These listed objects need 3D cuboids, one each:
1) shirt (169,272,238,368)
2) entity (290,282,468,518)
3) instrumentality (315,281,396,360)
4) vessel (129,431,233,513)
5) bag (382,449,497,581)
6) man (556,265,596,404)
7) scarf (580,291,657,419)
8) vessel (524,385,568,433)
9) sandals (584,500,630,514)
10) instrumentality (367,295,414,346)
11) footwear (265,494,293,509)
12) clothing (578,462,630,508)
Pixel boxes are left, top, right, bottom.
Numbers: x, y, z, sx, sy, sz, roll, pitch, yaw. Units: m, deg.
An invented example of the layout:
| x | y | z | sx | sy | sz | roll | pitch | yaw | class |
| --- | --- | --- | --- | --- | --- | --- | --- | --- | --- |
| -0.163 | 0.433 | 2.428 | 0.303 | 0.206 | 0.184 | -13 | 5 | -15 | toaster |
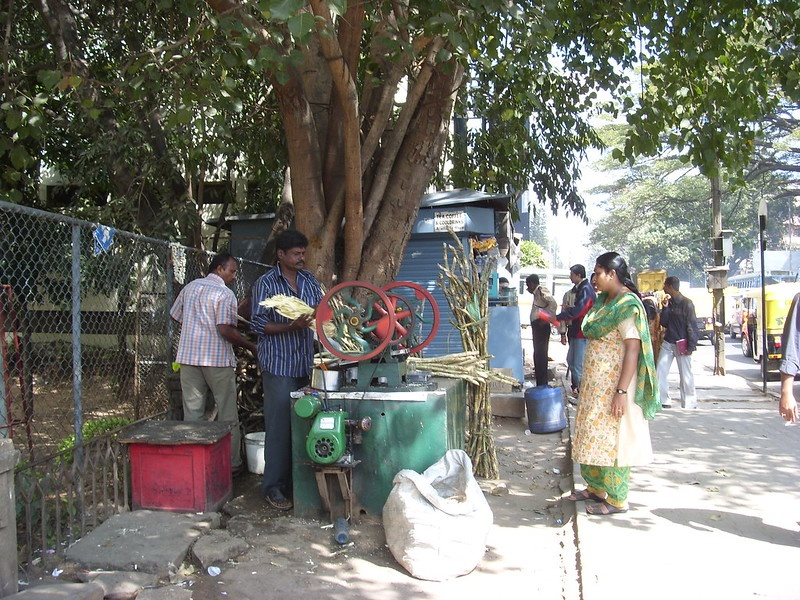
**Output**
| x | y | z | sx | sy | sz | roll | pitch | yaw | class |
| --- | --- | --- | --- | --- | --- | --- | --- | --- | --- |
| -1.984 | 0.211 | 7.129 | 0.799 | 1.067 | 0.553 | 5 | 9 | 22 | shirt |
| -0.175 | 0.897 | 7.040 | 1.728 | 2.253 | 1.744 | -5 | -5 | 27 | entity |
| -0.389 | 0.211 | 6.275 | 0.696 | 0.815 | 0.603 | -1 | 8 | 0 | instrumentality |
| -2.063 | 1.666 | 6.677 | 0.714 | 0.695 | 0.780 | -1 | -9 | 3 | vessel |
| 0.330 | 1.781 | 6.002 | 0.956 | 0.558 | 1.403 | 10 | 19 | 6 | bag |
| 2.615 | 0.486 | 10.603 | 0.601 | 2.076 | 0.616 | 2 | 14 | 10 | man |
| 2.078 | 0.503 | 6.615 | 0.577 | 1.262 | 0.792 | -3 | 12 | 7 | scarf |
| 1.954 | 1.463 | 9.540 | 0.666 | 0.630 | 0.714 | -8 | -1 | 6 | vessel |
| 1.891 | 1.900 | 6.460 | 0.317 | 0.102 | 0.147 | 2 | -4 | -1 | sandals |
| -0.069 | 0.185 | 6.401 | 0.386 | 0.440 | 0.129 | -6 | -7 | 27 | instrumentality |
| -1.144 | 1.898 | 6.664 | 0.260 | 0.117 | 0.108 | 3 | 5 | 34 | footwear |
| 1.943 | 1.707 | 6.585 | 0.383 | 0.444 | 0.265 | -5 | -1 | 12 | clothing |
